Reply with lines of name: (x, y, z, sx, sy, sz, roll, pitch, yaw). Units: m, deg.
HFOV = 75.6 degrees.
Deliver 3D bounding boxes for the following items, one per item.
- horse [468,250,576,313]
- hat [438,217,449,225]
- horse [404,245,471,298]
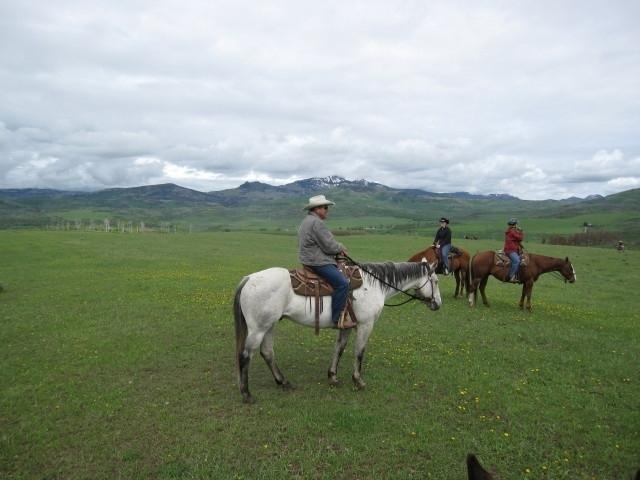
horse: (10.279, 2.080, 20.999, 5.193, 2.722, 1.223, 2, -5, 21)
hat: (6.519, -0.982, 21.482, 0.506, 0.143, 0.499, 6, -4, -7)
horse: (6.653, 1.800, 22.968, 5.644, 2.959, 1.318, 3, -4, -34)
